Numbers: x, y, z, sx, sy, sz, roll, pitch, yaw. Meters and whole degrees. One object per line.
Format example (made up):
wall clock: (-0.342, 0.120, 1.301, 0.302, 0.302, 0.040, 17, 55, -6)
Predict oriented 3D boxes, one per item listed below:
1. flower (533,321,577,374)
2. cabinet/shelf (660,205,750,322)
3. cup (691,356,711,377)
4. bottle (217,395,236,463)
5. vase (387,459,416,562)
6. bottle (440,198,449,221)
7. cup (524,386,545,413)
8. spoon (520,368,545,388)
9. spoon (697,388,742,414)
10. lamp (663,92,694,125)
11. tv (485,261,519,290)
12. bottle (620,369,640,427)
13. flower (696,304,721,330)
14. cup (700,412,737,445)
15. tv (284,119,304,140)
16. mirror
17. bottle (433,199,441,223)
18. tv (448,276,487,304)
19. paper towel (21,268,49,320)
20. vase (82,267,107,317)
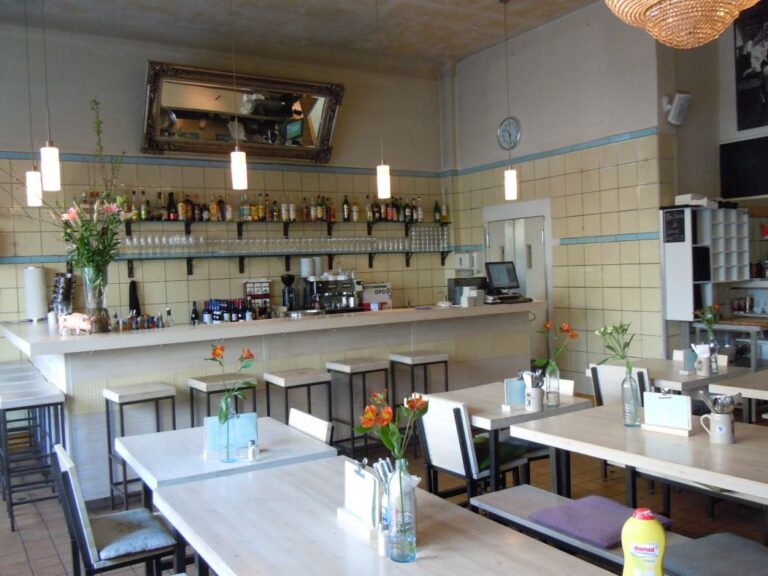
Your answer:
flower: (1.390, 0.514, 5.028, 0.261, 0.469, 0.313, 14, -3, 15)
cabinet/shelf: (3.574, -0.311, 6.933, 1.263, 1.236, 0.411, -7, 5, -42)
cup: (2.361, 0.596, 4.691, 0.144, 0.148, 0.091, -6, 8, -24)
bottle: (-0.857, 0.737, 3.362, 0.079, 0.348, 0.201, -3, 4, -16)
vase: (0.063, 0.859, 2.458, 0.130, 0.361, 0.208, -2, 3, 1)
bottle: (0.892, -1.157, 9.117, 0.123, 0.336, 0.111, -2, 3, 7)
cup: (0.960, 0.712, 3.964, 0.116, 0.146, 0.132, -2, 3, 10)
spoon: (0.982, 0.584, 4.078, 0.132, 0.137, 0.113, -4, 6, -9)
spoon: (1.767, 0.599, 3.270, 0.162, 0.109, 0.245, -1, 4, 23)
lamp: (3.227, -1.970, 6.788, 0.425, 0.348, 0.201, -6, 5, -43)
tv: (1.289, -0.137, 6.970, 0.533, 0.416, 0.245, -2, 4, -34)
bottle: (1.391, 0.608, 3.499, 0.088, 0.310, 0.215, -1, 4, 24)
flower: (3.006, 0.265, 5.781, 0.224, 0.267, 0.209, 8, 16, 44)
cup: (1.708, 0.725, 3.243, 0.122, 0.178, 0.188, 0, -2, -39)
tv: (-1.172, -2.042, 7.941, 0.240, 0.265, 0.034, -7, 27, -33)
mirror: (-1.803, -2.173, 7.792, 2.432, 1.145, 0.707, -6, 10, -35)
bottle: (0.789, -1.130, 9.124, 0.132, 0.328, 0.137, -2, 3, 0)
tv: (0.889, 0.028, 6.807, 0.448, 0.271, 0.439, -2, 4, 17)
paper towel: (-3.747, 0.059, 6.675, 0.238, 0.572, 0.333, -5, 4, -31)
vase: (-2.398, 0.021, 5.152, 0.164, 0.395, 0.171, -4, 4, -26)
